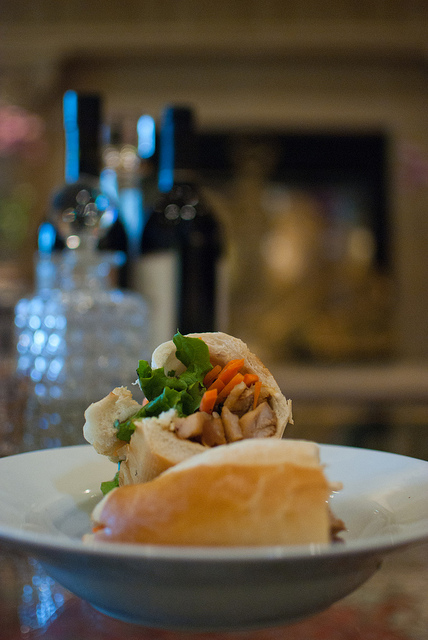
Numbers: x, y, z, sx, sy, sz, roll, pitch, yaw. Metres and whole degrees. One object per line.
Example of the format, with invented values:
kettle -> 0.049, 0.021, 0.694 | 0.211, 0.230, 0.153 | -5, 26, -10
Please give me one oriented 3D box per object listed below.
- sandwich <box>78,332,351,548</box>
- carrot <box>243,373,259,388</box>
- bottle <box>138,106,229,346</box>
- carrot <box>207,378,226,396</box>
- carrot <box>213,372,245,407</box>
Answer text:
sandwich -> 0.009, 0.072, 0.262 | 0.075, 0.038, 0.091 | 27, -40, -24
carrot -> 0.019, 0.032, 0.363 | 0.008, 0.007, 0.007 | -14, 31, -43
bottle -> -0.047, -0.117, 0.982 | 0.142, 0.247, 0.361 | 3, -2, 0
carrot -> 0.001, 0.035, 0.349 | 0.007, 0.007, 0.008 | 9, -7, 7
carrot -> 0.009, 0.037, 0.351 | 0.008, 0.012, 0.018 | 1, -2, 35
